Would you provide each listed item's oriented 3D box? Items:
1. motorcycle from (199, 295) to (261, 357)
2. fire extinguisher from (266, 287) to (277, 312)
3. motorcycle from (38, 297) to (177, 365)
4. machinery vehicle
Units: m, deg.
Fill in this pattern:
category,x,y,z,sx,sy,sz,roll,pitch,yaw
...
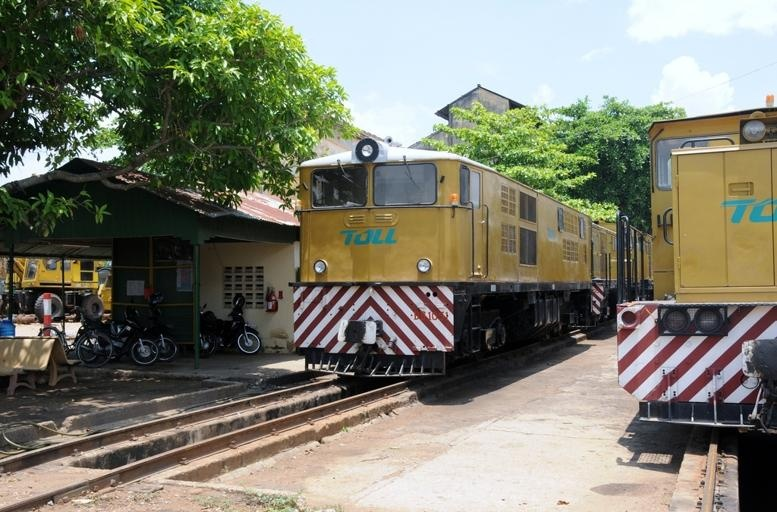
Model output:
category,x,y,z,sx,sy,sz,roll,pitch,yaw
motorcycle,-4.087,1.777,17.568,1.547,1.564,1.185,-2,-4,-12
fire extinguisher,-3.074,1.145,17.802,0.307,0.684,0.140,-4,-3,22
motorcycle,-6.520,1.864,16.235,3.013,1.632,1.373,-2,-4,-3
machinery vehicle,-13.574,1.340,27.358,4.847,2.953,2.672,-3,1,-25
